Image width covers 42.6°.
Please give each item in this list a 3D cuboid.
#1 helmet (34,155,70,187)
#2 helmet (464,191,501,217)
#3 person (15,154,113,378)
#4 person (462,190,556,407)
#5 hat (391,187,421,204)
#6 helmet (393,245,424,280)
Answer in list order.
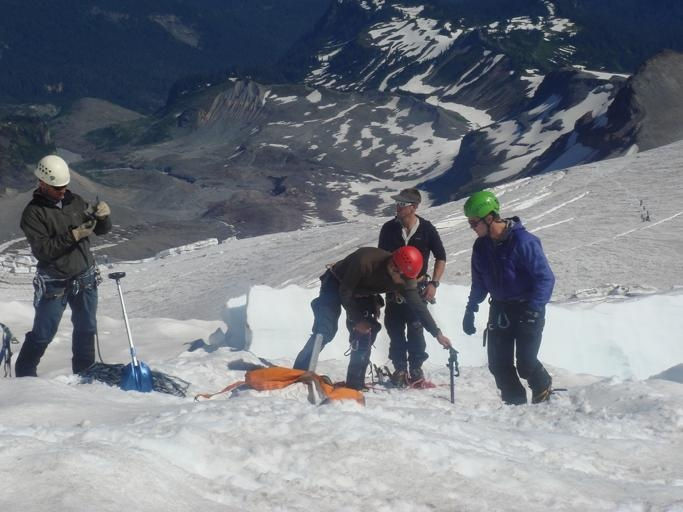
[{"bbox_3d":[-4.296,-1.266,13.037,0.478,0.515,0.336,-1,-6,-15],"label":"helmet"},{"bbox_3d":[2.073,-0.753,12.973,0.615,0.372,0.386,7,-2,-7],"label":"helmet"},{"bbox_3d":[-4.192,0.151,13.170,1.188,3.228,0.834,0,-7,-24],"label":"person"},{"bbox_3d":[2.532,0.637,13.252,1.290,3.200,1.003,-4,-6,6],"label":"person"},{"bbox_3d":[1.045,-0.937,14.006,0.463,0.151,0.261,1,9,-3],"label":"hat"},{"bbox_3d":[0.987,0.093,13.081,0.462,0.436,0.430,-1,-16,-45],"label":"helmet"}]
